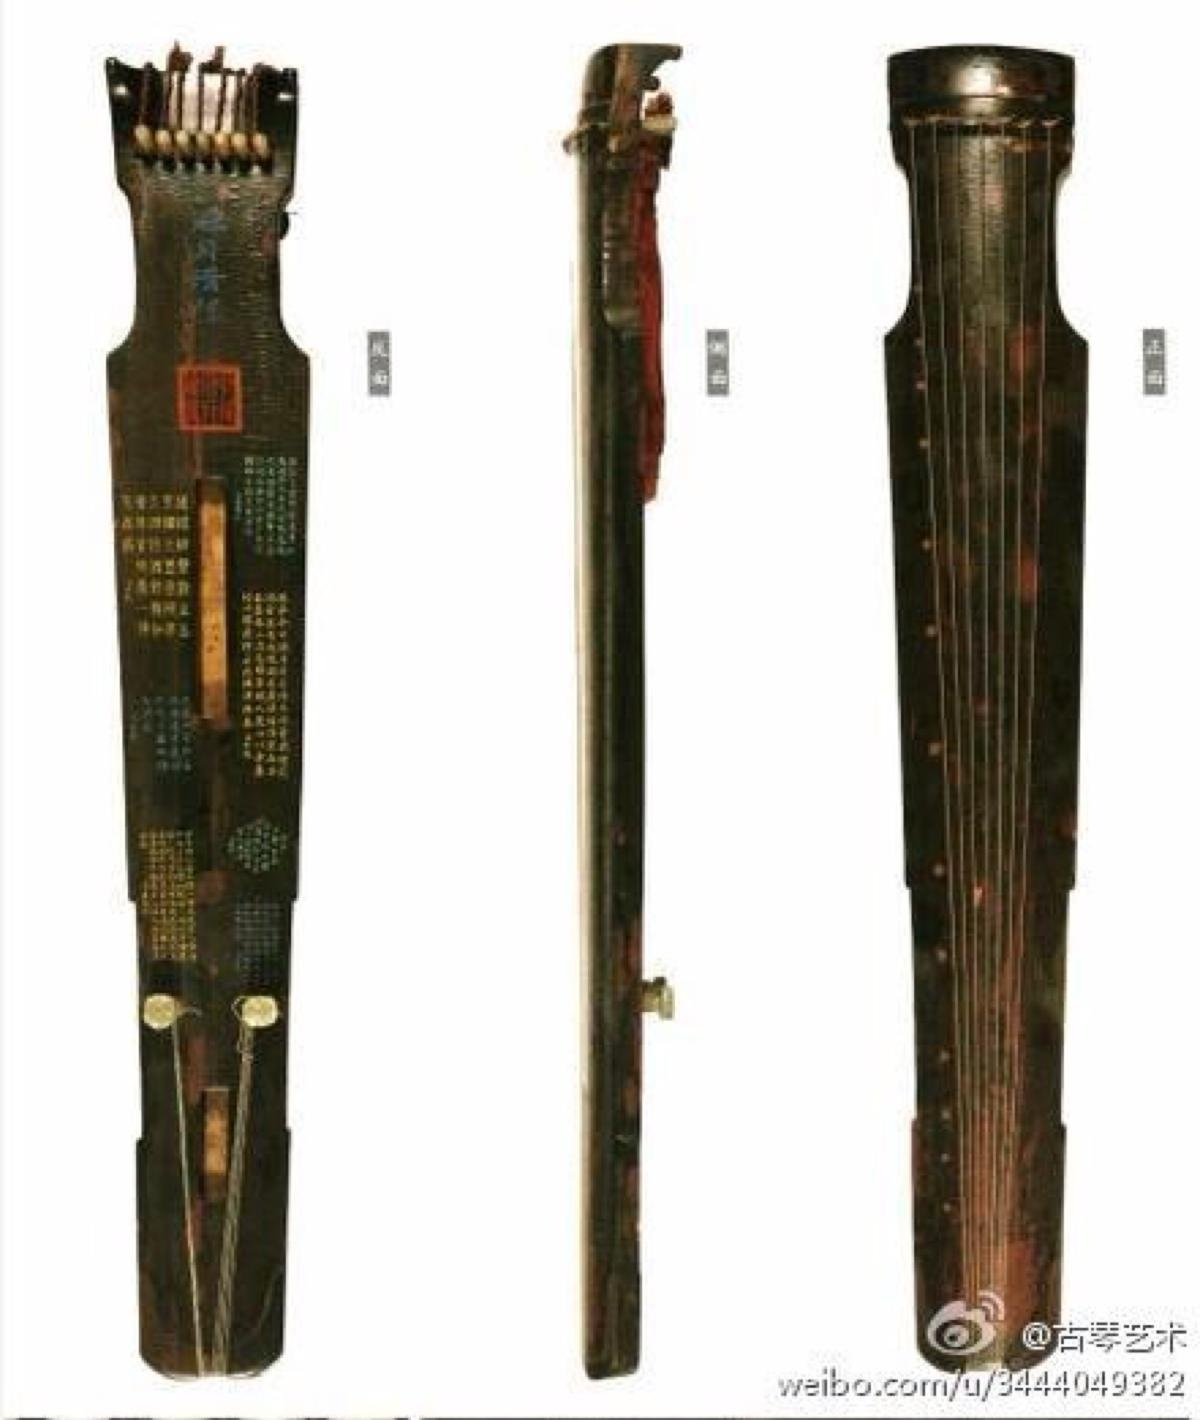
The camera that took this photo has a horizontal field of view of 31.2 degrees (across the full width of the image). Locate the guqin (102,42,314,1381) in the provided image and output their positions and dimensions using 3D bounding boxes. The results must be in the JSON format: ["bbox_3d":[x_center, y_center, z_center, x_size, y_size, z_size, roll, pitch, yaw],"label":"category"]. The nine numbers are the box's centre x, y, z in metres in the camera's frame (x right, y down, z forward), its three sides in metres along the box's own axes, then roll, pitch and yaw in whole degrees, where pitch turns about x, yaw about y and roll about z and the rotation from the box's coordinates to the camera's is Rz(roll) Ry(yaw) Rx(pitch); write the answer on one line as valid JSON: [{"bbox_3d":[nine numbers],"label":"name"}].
[{"bbox_3d":[-0.494,0.015,2.749,0.241,1.655,0.457,0,-13,-12],"label":"guqin"}]
